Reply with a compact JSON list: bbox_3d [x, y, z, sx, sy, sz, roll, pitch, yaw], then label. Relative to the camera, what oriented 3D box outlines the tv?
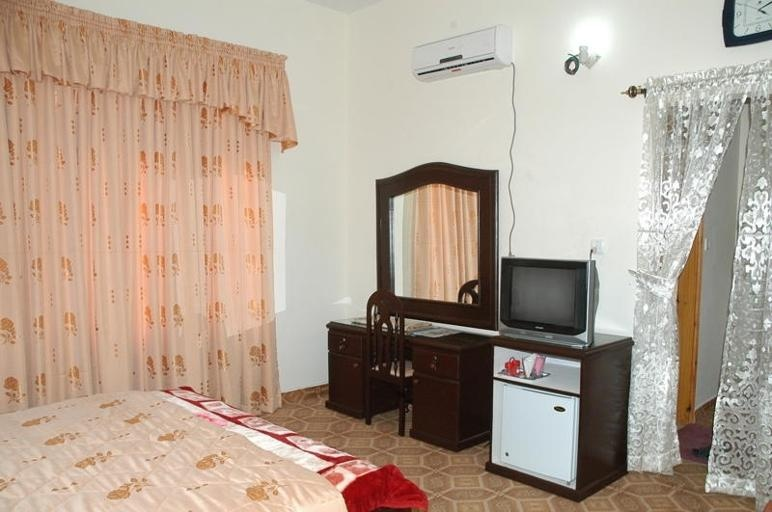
[{"bbox_3d":[1.268,0.328,4.499,0.927,0.799,0.608,1,3,38],"label":"tv"}]

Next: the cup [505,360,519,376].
[{"bbox_3d":[0.983,0.854,4.357,0.105,0.133,0.102,-1,-1,0],"label":"cup"}]

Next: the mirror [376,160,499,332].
[{"bbox_3d":[0.462,-0.129,5.376,0.050,1.507,1.519,-2,2,-42],"label":"mirror"}]

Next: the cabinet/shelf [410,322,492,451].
[{"bbox_3d":[0.527,1.093,5.101,0.847,1.138,0.808,-1,3,-41],"label":"cabinet/shelf"}]
